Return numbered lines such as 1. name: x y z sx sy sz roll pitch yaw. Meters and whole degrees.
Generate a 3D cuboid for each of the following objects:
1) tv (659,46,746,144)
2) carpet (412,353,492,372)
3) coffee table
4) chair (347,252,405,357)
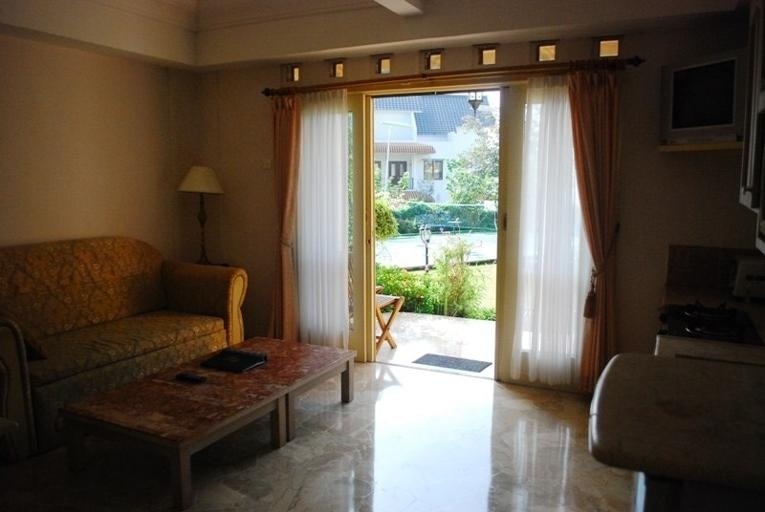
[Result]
1. tv: 2.389 -1.184 4.388 0.703 0.615 0.409 -6 8 -3
2. carpet: 0.713 1.105 5.768 0.733 0.025 0.400 3 8 23
3. coffee table: -1.209 1.194 4.213 1.011 0.687 1.915 7 10 42
4. chair: -0.020 0.452 6.452 0.534 1.094 1.451 0 8 6
